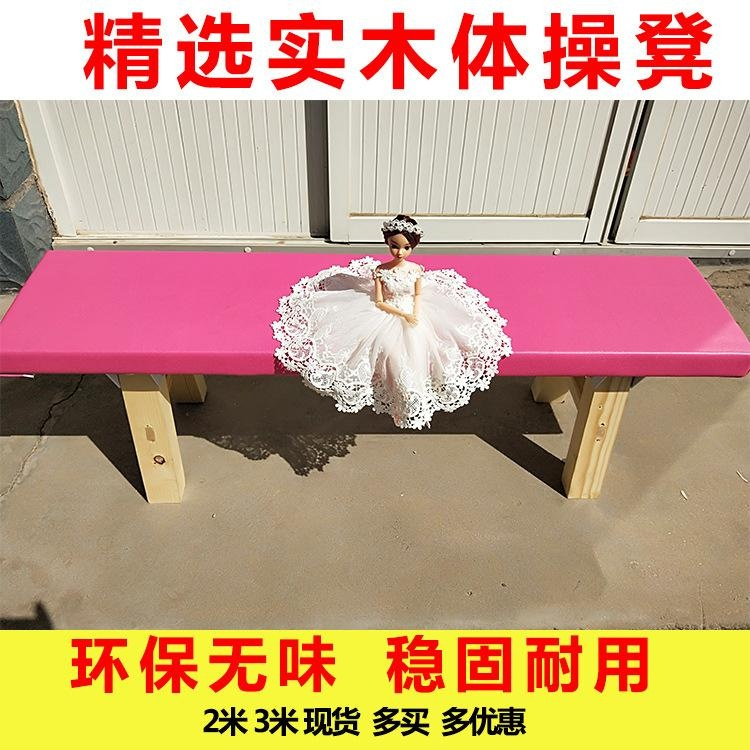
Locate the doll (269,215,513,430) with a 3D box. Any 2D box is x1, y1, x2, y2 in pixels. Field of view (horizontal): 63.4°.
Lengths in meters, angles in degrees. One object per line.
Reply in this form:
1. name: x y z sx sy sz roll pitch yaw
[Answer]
1. doll: 0.057 -0.250 2.215 0.857 0.429 0.786 -9 45 -7
